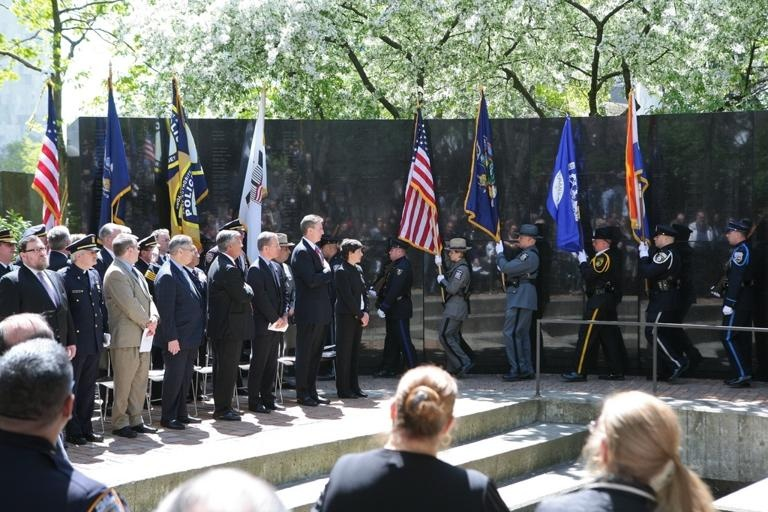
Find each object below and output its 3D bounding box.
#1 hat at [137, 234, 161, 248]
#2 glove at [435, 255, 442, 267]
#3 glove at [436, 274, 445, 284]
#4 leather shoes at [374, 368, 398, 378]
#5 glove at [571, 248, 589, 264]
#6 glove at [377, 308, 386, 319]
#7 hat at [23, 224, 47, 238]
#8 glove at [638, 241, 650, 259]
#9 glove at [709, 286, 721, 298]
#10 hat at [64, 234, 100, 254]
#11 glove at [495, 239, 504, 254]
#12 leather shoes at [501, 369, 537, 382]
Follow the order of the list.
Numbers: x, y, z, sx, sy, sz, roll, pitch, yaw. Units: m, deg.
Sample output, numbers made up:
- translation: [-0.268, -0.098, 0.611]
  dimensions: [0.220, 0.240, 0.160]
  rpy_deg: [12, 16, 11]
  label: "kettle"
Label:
- translation: [-3.986, -0.250, 19.045]
  dimensions: [0.265, 0.120, 0.237]
  rpy_deg: [0, 4, 28]
  label: "hat"
- translation: [0.988, 0.083, 21.394]
  dimensions: [0.070, 0.185, 0.146]
  rpy_deg: [-8, -14, 42]
  label: "glove"
- translation: [1.058, 0.416, 21.479]
  dimensions: [0.161, 0.113, 0.154]
  rpy_deg: [0, -3, -1]
  label: "glove"
- translation: [0.043, 2.228, 21.881]
  dimensions: [0.503, 0.184, 0.162]
  rpy_deg: [4, 2, -4]
  label: "leather shoes"
- translation: [3.683, 0.009, 21.290]
  dimensions: [0.222, 0.101, 0.285]
  rpy_deg: [1, -28, 4]
  label: "glove"
- translation: [-0.052, 1.071, 21.425]
  dimensions: [0.146, 0.059, 0.194]
  rpy_deg: [27, -22, 19]
  label: "glove"
- translation: [-5.879, -0.420, 19.036]
  dimensions: [0.400, 0.156, 0.361]
  rpy_deg: [-8, -5, 38]
  label: "hat"
- translation: [4.768, -0.120, 20.880]
  dimensions: [0.179, 0.257, 0.102]
  rpy_deg: [3, -11, 10]
  label: "glove"
- translation: [6.137, 0.657, 20.933]
  dimensions: [0.204, 0.199, 0.086]
  rpy_deg: [23, 2, 36]
  label: "glove"
- translation: [-4.674, -0.197, 17.499]
  dimensions: [0.381, 0.186, 0.328]
  rpy_deg: [1, 0, 9]
  label: "hat"
- translation: [2.154, -0.174, 21.371]
  dimensions: [0.170, 0.221, 0.077]
  rpy_deg: [-1, -5, 12]
  label: "glove"
- translation: [2.526, 2.220, 21.321]
  dimensions: [0.611, 0.241, 0.222]
  rpy_deg: [3, -3, -14]
  label: "leather shoes"
